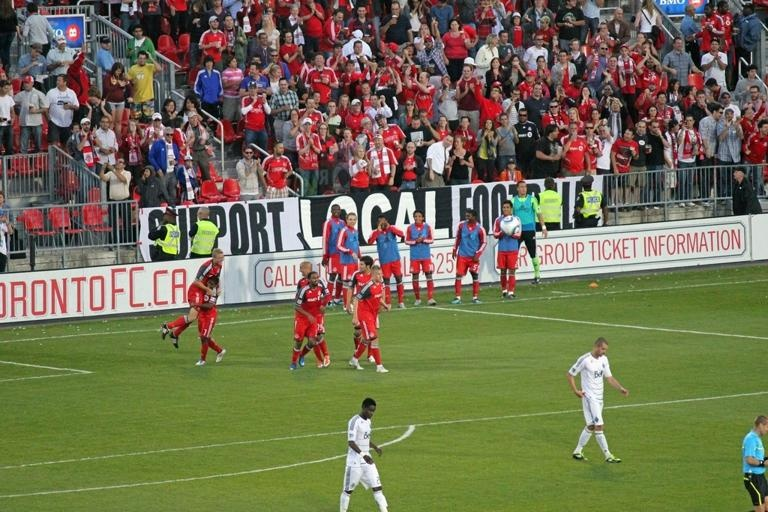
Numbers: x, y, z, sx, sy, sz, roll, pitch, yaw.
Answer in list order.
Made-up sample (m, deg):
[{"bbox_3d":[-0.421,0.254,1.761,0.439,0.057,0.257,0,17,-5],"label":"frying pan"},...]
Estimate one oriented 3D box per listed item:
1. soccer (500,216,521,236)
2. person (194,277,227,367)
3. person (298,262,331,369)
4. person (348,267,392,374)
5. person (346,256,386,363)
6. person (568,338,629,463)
[{"bbox_3d":[4.027,-0.923,52.084,0.601,0.501,0.617,-17,-13,3],"label":"soccer"},{"bbox_3d":[-4.801,1.795,45.348,0.803,2.297,1.093,6,-7,-26],"label":"person"},{"bbox_3d":[-1.679,1.590,44.826,0.880,2.999,1.111,2,-2,-6],"label":"person"},{"bbox_3d":[-0.361,1.739,44.638,0.997,2.766,1.205,2,-3,-43],"label":"person"},{"bbox_3d":[-0.352,1.475,44.559,0.980,2.796,1.213,0,-2,0],"label":"person"},{"bbox_3d":[4.987,3.409,38.880,1.455,2.864,0.972,1,0,7],"label":"person"}]
